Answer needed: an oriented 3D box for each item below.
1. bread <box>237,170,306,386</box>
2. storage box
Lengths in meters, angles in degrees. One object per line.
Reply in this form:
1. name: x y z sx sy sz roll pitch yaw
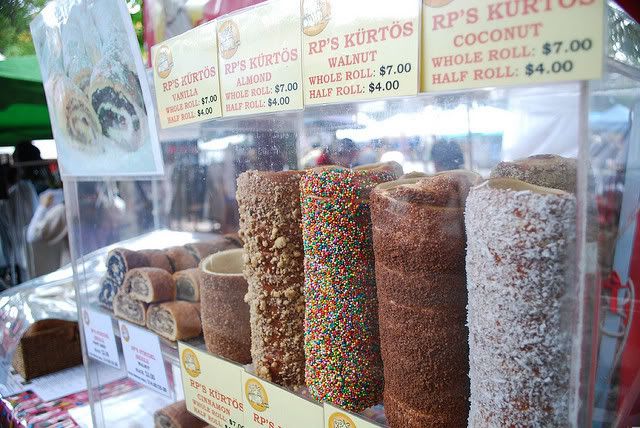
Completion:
1. bread: -0.095 0.139 0.938 0.130 0.450 0.071 -1 9 4
2. storage box: -1.222 0.609 2.027 0.263 0.219 0.180 -9 11 -41
